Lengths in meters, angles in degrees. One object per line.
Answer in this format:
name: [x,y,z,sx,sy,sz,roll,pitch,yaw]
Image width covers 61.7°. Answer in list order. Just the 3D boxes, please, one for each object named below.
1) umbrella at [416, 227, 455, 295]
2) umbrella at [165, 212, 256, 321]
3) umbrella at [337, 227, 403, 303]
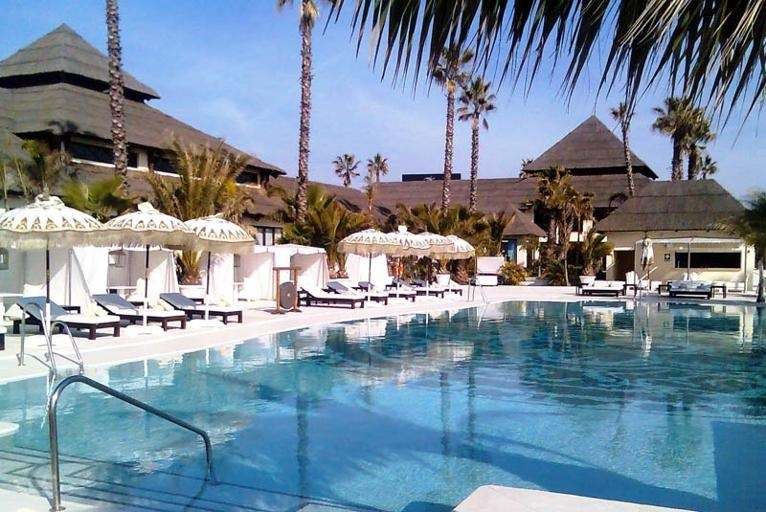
umbrella: [2.499,-0.140,28.626,2.208,2.465,2.216,0,0,-16]
umbrella: [-4.362,0.274,18.489,2.817,3.303,2.805,1,-1,-33]
umbrella: [-0.330,0.365,25.039,2.601,3.122,2.604,0,0,-11]
